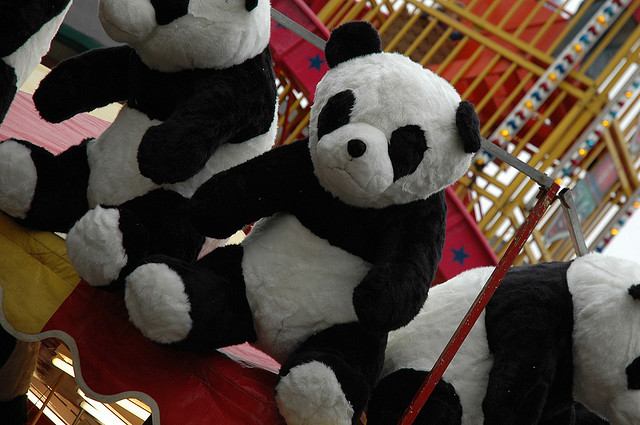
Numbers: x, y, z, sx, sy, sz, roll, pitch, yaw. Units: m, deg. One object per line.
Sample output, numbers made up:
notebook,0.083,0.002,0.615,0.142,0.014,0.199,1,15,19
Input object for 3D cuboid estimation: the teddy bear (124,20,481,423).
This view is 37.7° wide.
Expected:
teddy bear,-0.104,0.075,3.477,1.085,1.313,0.867,29,19,12
